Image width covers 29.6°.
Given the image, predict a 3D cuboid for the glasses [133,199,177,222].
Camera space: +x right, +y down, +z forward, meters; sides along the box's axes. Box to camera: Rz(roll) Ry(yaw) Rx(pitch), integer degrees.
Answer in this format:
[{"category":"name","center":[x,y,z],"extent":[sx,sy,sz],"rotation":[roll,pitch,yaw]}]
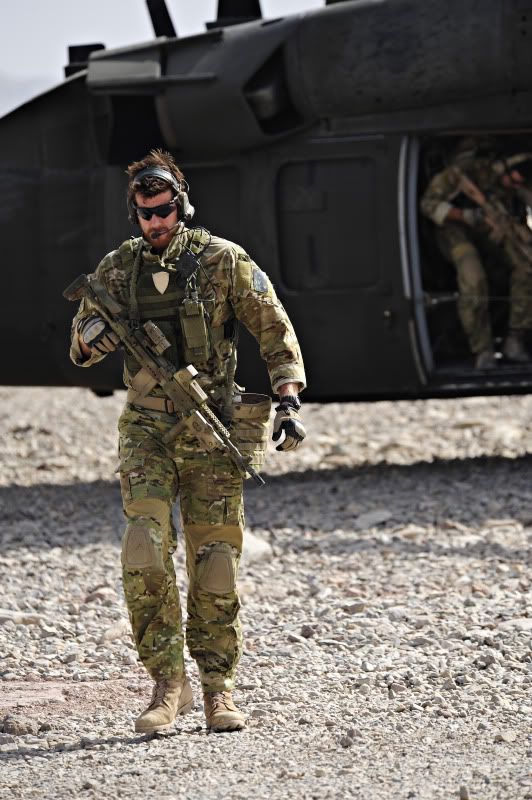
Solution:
[{"category":"glasses","center":[-0.369,-0.632,3.392],"extent":[0.137,0.065,0.069],"rotation":[-5,7,-7]}]

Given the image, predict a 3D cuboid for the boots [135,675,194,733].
[{"category":"boots","center":[-0.330,0.976,3.230],"extent":[0.091,0.153,0.273],"rotation":[-3,7,21]}]

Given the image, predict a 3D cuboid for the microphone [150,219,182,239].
[{"category":"microphone","center":[-0.338,-0.573,3.394],"extent":[0.065,0.019,0.086],"rotation":[-7,10,37]}]

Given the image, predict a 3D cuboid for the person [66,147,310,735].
[{"category":"person","center":[-0.087,0.111,3.473],"extent":[0.822,1.704,0.952],"rotation":[-1,3,-4]}]
